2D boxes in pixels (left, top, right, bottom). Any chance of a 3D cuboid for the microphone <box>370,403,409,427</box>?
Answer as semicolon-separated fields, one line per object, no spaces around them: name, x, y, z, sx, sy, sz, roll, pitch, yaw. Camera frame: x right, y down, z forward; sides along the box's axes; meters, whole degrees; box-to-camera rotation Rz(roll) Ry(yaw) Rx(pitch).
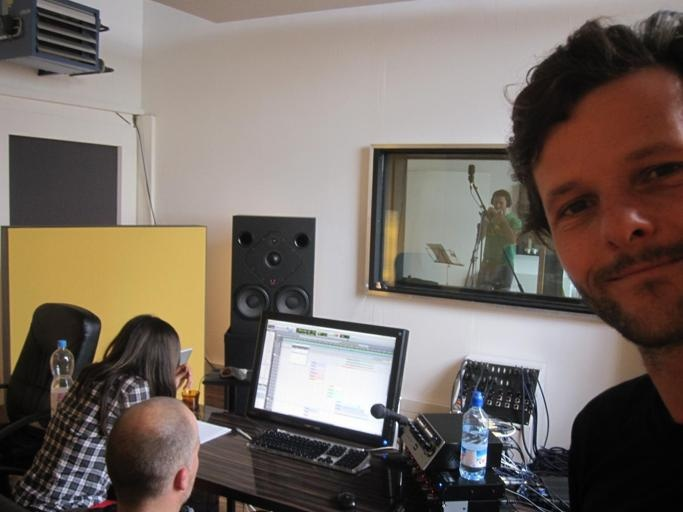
microphone;0.151;0.541;1.978;0.064;0.066;0.176;12;-12;42

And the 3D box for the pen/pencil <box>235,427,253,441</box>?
pen/pencil;-0.381;0.694;2.271;0.026;0.021;0.135;-15;19;-26

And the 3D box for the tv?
tv;-0.067;0.481;2.205;0.771;0.582;0.134;6;-1;27

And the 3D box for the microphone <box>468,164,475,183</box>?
microphone;0.895;-0.572;4.012;0.035;0.132;0.033;2;0;13

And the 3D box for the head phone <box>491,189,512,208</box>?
head phone;1.077;-0.395;3.944;0.108;0.109;0.117;9;-17;23
